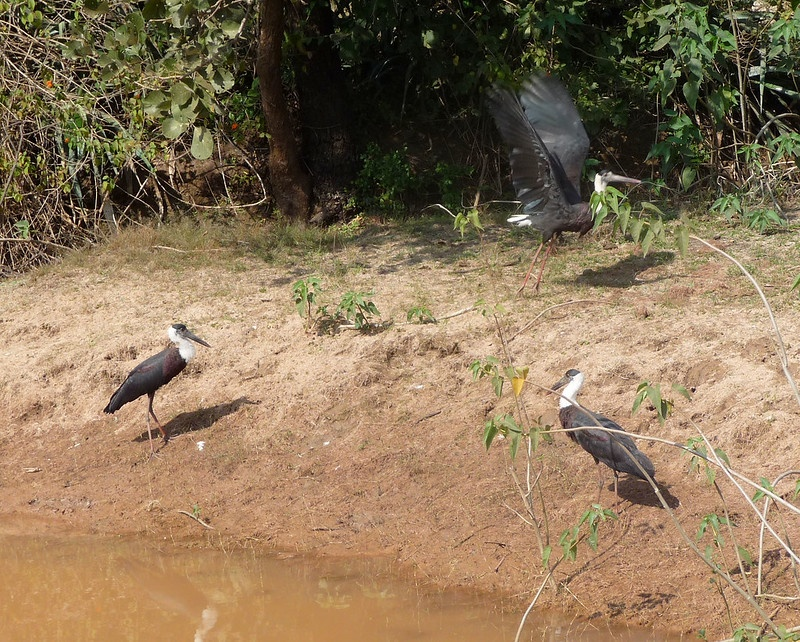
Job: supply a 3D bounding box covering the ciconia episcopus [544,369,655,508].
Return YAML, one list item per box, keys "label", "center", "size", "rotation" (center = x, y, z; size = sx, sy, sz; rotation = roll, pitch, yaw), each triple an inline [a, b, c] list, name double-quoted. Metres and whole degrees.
- label: "ciconia episcopus"
  center: [1.903, 1.182, 10.098]
  size: [0.939, 1.540, 0.495]
  rotation: [0, 15, 12]

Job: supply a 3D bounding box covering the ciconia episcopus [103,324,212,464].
- label: "ciconia episcopus"
  center: [-2.708, 0.751, 11.963]
  size: [1.247, 1.574, 0.392]
  rotation: [-6, 25, -13]

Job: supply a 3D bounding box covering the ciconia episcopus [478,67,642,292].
- label: "ciconia episcopus"
  center: [1.841, -1.835, 12.947]
  size: [1.139, 2.447, 1.498]
  rotation: [-6, 21, 20]
